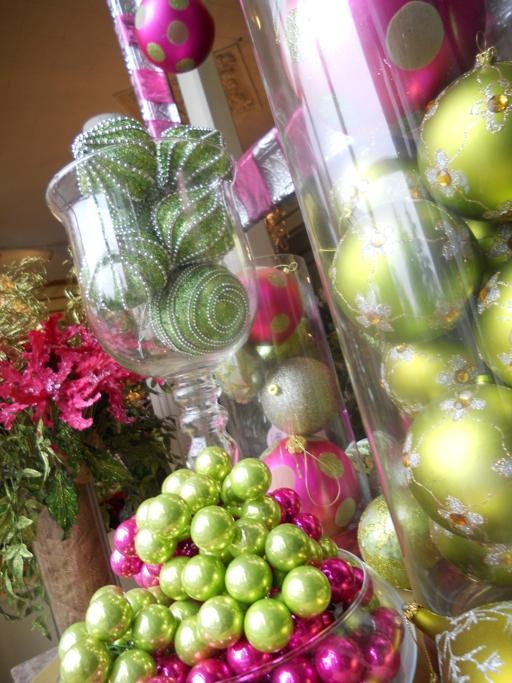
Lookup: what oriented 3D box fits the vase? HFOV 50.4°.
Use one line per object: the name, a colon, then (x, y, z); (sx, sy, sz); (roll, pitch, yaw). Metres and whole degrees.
vase: (-0.216, 0.174, 0.590); (0.274, 0.072, 0.065); (-17, 53, 68)
